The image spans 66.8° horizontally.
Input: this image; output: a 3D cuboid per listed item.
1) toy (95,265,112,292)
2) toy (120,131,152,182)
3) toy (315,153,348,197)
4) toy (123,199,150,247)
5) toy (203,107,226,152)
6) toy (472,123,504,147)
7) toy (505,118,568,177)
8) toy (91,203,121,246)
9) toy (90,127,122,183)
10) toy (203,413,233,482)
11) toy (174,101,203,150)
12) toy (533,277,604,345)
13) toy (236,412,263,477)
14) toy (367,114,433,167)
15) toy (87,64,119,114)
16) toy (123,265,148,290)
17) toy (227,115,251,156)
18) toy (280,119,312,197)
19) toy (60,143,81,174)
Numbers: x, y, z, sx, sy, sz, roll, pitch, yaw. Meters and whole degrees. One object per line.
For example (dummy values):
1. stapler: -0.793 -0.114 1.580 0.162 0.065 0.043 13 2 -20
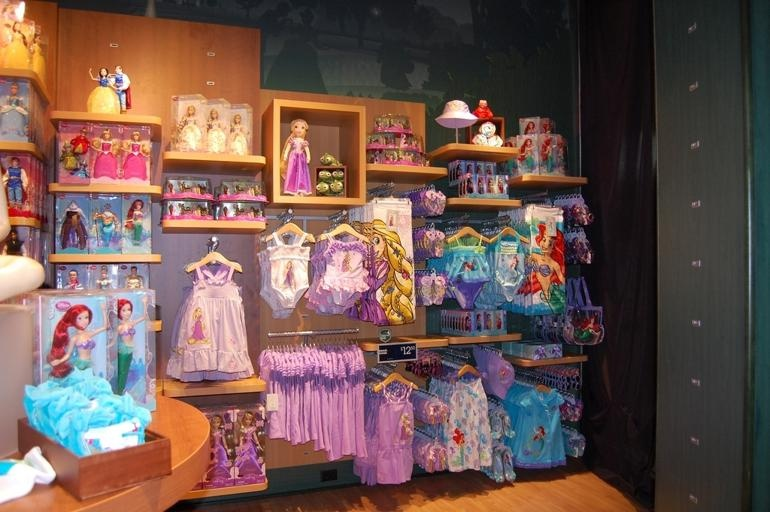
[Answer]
1. toy: -2.099 0.144 4.358 0.103 0.156 0.040 -2 4 -28
2. toy: -1.886 -0.745 4.405 0.195 0.401 0.104 0 4 -4
3. toy: -0.442 -0.668 4.798 0.236 0.365 0.117 0 12 0
4. toy: -1.892 -0.240 4.452 0.187 0.428 0.066 -1 4 -14
5. toy: -1.328 -0.982 4.580 0.160 0.341 0.097 -1 4 -14
6. toy: 0.940 -1.090 5.343 0.237 0.261 0.091 1 8 -12
7. toy: 1.439 -1.010 5.590 0.553 0.578 0.551 0 -3 13
8. toy: -2.086 -0.231 4.388 0.189 0.399 0.060 0 4 -5
9. toy: -2.080 -0.760 4.340 0.179 0.382 0.131 -11 48 -39
10. toy: -1.263 1.467 4.399 0.182 0.529 0.148 -4 5 -45
11. toy: -1.523 -0.993 4.531 0.202 0.359 0.101 -1 4 -20
12. toy: 1.680 0.556 5.596 0.443 0.721 0.693 1 -6 -18
13. toy: -1.032 1.449 4.479 0.195 0.523 0.065 -1 4 -13
14. toy: 0.130 -0.989 5.155 0.485 0.358 0.479 -3 4 -33
15. toy: -2.126 -1.239 4.419 0.221 0.354 0.190 -8 32 -33
16. toy: -1.834 0.157 4.272 0.136 0.259 0.085 3 -12 -20
17. toy: -1.162 -0.956 4.658 0.167 0.318 0.118 1 8 8
18. toy: -0.735 -0.815 4.799 0.238 0.641 0.220 -2 4 -23
19. toy: -2.302 -0.714 4.275 0.123 0.203 0.061 -2 4 -30
